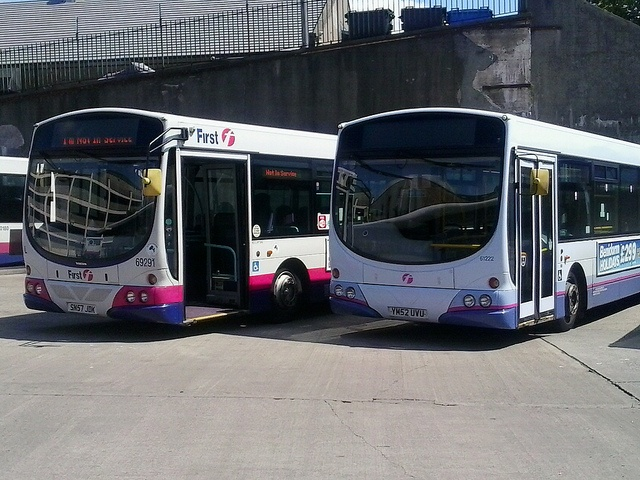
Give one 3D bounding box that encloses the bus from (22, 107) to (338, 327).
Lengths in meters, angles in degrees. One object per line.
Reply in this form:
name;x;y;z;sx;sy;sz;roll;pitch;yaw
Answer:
bus;-2.430;-0.374;12.152;5.394;3.797;2.289;-2;4;-32
